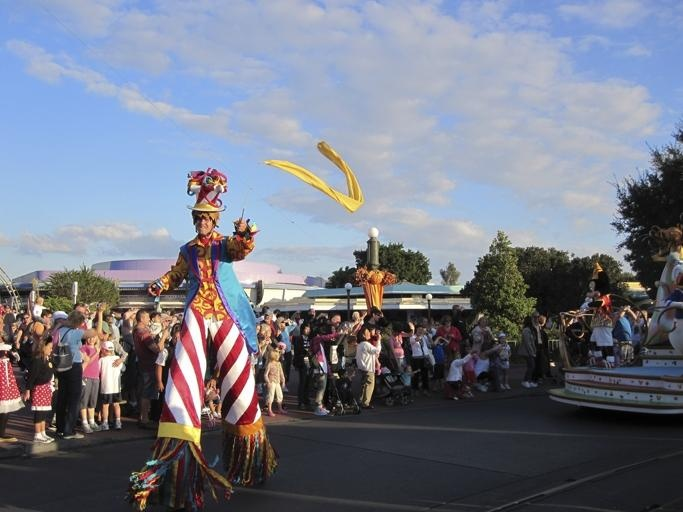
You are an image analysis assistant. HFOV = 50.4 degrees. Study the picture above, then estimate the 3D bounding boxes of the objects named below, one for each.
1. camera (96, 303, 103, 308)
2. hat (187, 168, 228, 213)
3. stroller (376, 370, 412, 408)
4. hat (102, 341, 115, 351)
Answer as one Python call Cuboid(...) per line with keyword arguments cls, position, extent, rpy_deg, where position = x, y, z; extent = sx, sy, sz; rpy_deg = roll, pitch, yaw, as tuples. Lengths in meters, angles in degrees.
Cuboid(cls="camera", position=(-4.140, 0.855, 12.395), extent=(0.105, 0.080, 0.107), rpy_deg=(-1, -1, 3))
Cuboid(cls="hat", position=(-1.780, -0.841, 9.492), extent=(0.452, 0.573, 0.215), rpy_deg=(-1, -5, 21))
Cuboid(cls="stroller", position=(1.141, 2.913, 16.092), extent=(0.782, 0.874, 0.637), rpy_deg=(-1, -2, 3))
Cuboid(cls="hat", position=(-4.244, 1.656, 13.248), extent=(0.160, 0.194, 0.276), rpy_deg=(0, -5, 9))
